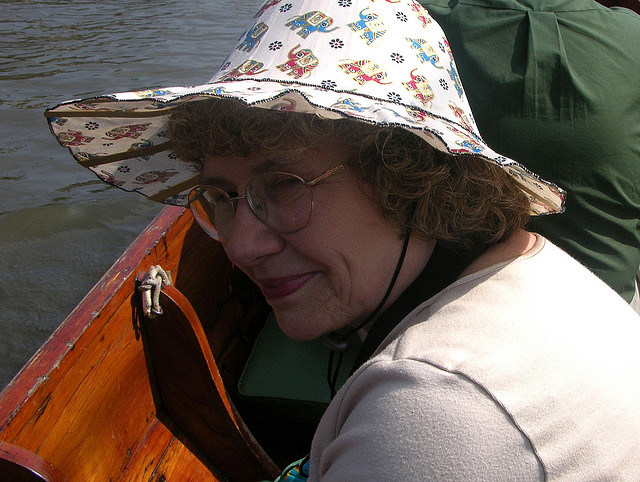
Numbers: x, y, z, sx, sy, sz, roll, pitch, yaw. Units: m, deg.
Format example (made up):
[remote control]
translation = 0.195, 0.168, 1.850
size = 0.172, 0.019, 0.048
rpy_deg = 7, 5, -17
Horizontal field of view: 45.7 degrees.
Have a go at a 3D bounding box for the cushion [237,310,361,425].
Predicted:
[cushion]
translation = -0.090, 0.580, 3.515
size = 0.526, 0.132, 0.561
rpy_deg = 4, 43, 3

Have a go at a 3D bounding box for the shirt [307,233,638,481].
[shirt]
translation = 0.529, 0.499, 2.350
size = 1.100, 0.561, 0.672
rpy_deg = -12, 41, -18
